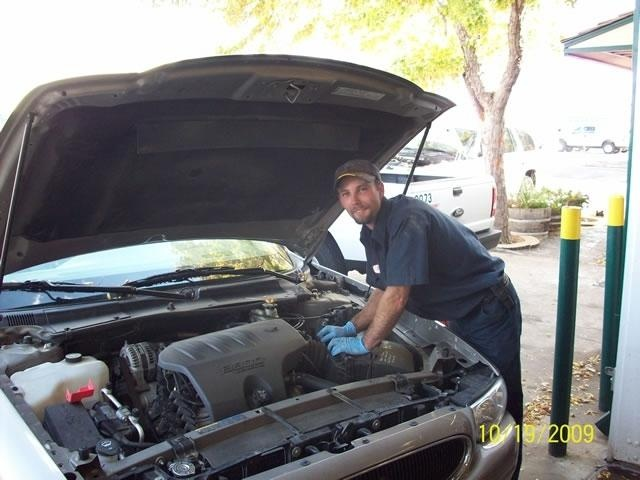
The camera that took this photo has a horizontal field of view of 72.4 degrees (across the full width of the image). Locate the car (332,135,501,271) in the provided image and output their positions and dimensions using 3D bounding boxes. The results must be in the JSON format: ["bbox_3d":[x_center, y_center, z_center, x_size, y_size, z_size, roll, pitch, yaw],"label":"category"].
[{"bbox_3d":[1.652,-0.853,7.739,2.061,1.738,3.681,-4,8,-2],"label":"car"}]
